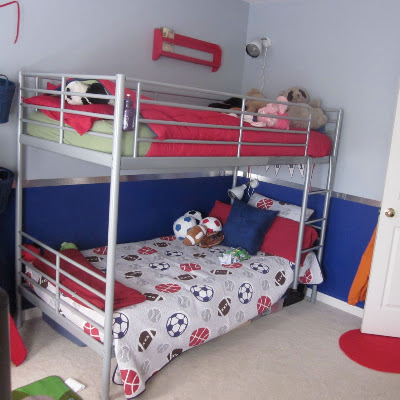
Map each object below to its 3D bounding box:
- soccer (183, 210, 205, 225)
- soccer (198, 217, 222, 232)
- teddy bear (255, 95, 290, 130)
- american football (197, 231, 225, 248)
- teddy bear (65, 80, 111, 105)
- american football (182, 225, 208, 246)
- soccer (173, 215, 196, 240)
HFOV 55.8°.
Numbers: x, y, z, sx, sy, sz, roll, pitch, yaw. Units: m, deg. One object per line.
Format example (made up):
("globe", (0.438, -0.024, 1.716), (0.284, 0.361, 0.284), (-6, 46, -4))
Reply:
("soccer", (-0.058, 0.173, 3.680), (0.150, 0.133, 0.134), (-5, -6, 11))
("soccer", (0.102, 0.241, 3.609), (0.155, 0.154, 0.169), (32, 35, -32))
("teddy bear", (0.526, -0.638, 2.807), (0.219, 0.268, 0.243), (-11, 19, -35))
("american football", (0.104, 0.356, 3.410), (0.177, 0.068, 0.139), (-4, 4, 33))
("teddy bear", (-0.676, -0.648, 2.359), (0.297, 0.205, 0.105), (-6, -22, -18))
("american football", (-0.045, 0.317, 3.452), (0.226, 0.124, 0.131), (-29, 24, -27))
("soccer", (-0.135, 0.261, 3.473), (0.159, 0.170, 0.156), (20, 10, -38))
